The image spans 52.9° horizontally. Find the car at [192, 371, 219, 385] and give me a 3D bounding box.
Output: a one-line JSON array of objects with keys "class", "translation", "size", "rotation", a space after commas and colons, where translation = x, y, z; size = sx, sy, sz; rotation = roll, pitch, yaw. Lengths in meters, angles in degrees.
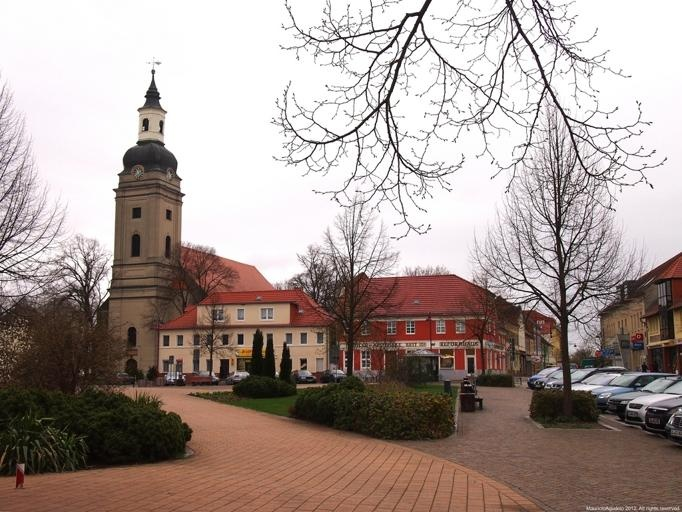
[{"class": "car", "translation": [-11.476, 9.963, 55.361], "size": [2.037, 1.227, 1.368], "rotation": [-5, -10, 8]}]

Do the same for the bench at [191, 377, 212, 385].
[{"class": "bench", "translation": [-11.212, 9.905, 54.883], "size": [1.583, 0.749, 1.077], "rotation": [0, -15, -4]}]
